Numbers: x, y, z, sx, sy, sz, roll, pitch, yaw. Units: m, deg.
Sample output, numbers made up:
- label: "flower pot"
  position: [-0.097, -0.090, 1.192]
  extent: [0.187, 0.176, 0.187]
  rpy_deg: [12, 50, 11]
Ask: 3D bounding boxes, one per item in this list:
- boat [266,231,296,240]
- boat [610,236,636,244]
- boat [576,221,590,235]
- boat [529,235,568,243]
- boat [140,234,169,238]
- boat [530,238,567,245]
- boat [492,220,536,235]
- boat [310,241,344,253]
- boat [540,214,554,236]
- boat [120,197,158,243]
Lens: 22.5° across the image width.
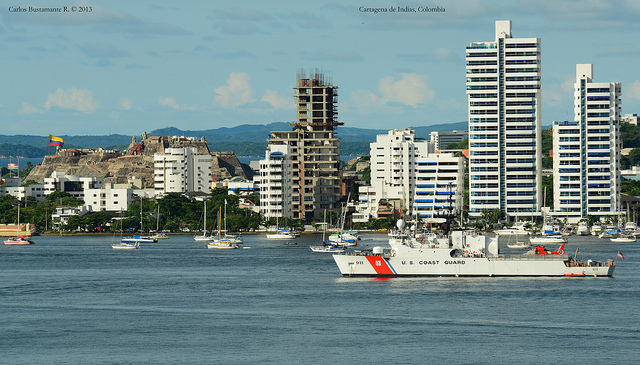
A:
- label: "boat"
  position: [-10.937, 13.939, 410.460]
  extent: [8.629, 1.971, 2.383]
  rpy_deg: [2, -5, 4]
- label: "boat"
  position: [75.421, 14.817, 401.677]
  extent: [7.180, 1.390, 1.918]
  rpy_deg: [2, -6, -6]
- label: "boat"
  position: [69.704, 12.873, 428.428]
  extent: [3.645, 3.697, 11.334]
  rpy_deg: [2, 3, 12]
- label: "boat"
  position: [55.964, 14.104, 394.658]
  extent: [9.575, 1.896, 2.838]
  rpy_deg: [3, -7, 0]
- label: "boat"
  position: [-43.547, 14.431, 413.469]
  extent: [1.687, 0.799, 5.994]
  rpy_deg: [-3, -5, 30]
- label: "boat"
  position: [55.293, 14.571, 393.407]
  extent: [10.176, 2.022, 2.723]
  rpy_deg: [3, -6, 0]
- label: "boat"
  position: [50.872, 12.535, 423.325]
  extent: [11.220, 3.490, 3.912]
  rpy_deg: [0, -3, 38]
- label: "boat"
  position: [1.155, 15.716, 374.812]
  extent: [8.672, 1.928, 2.505]
  rpy_deg: [3, -6, -4]
- label: "boat"
  position: [59.891, 11.178, 427.849]
  extent: [2.521, 2.728, 7.683]
  rpy_deg: [0, -4, 0]
- label: "boat"
  position: [-48.979, 10.913, 423.169]
  extent: [5.982, 11.415, 11.282]
  rpy_deg: [-1, -1, 23]
